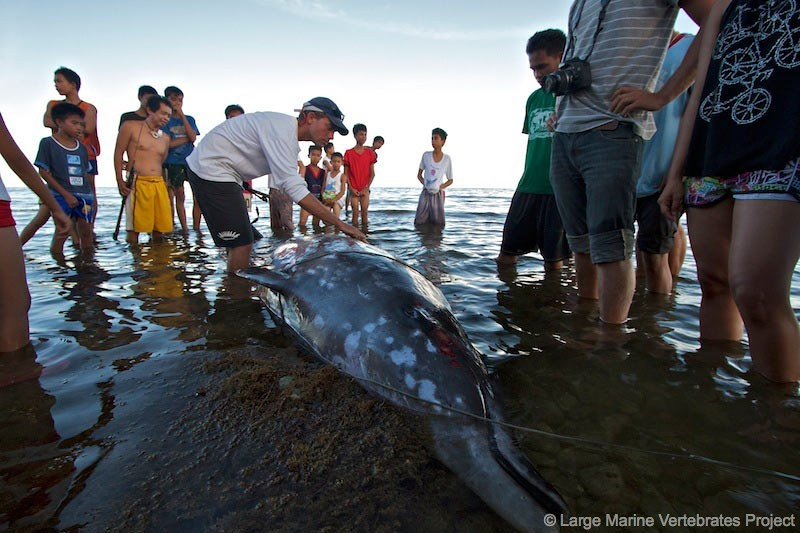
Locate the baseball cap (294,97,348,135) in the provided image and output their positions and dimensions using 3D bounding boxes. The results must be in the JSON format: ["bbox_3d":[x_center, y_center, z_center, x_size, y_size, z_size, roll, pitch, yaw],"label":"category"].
[{"bbox_3d":[-0.682,-1.384,4.263,0.452,0.307,0.318,13,-2,-15],"label":"baseball cap"}]

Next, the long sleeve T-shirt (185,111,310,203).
[{"bbox_3d":[-1.349,-0.953,4.418,1.176,0.870,0.342,-3,8,21],"label":"long sleeve T-shirt"}]

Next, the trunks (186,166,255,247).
[{"bbox_3d":[-1.901,-0.415,4.847,0.495,1.088,0.705,11,-34,-36],"label":"trunks"}]

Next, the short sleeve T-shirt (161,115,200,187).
[{"bbox_3d":[-3.582,-1.754,7.510,0.482,1.639,0.379,-5,25,-41],"label":"short sleeve T-shirt"}]

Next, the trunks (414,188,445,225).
[{"bbox_3d":[0.624,-1.039,9.201,0.488,0.853,0.417,5,-6,10],"label":"trunks"}]

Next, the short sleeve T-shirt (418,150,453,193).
[{"bbox_3d":[0.719,-1.787,9.320,0.601,0.855,0.388,15,30,18],"label":"short sleeve T-shirt"}]
